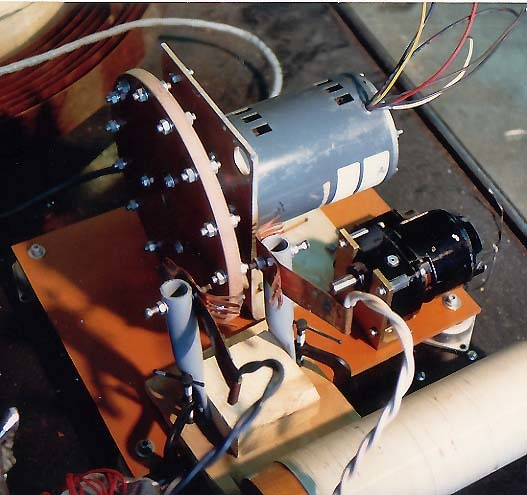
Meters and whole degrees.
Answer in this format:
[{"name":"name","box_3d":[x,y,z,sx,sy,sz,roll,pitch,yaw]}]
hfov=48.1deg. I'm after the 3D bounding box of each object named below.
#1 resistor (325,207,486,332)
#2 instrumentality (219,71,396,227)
[{"name":"resistor","box_3d":[0.486,0.030,2.029,0.445,0.228,0.369,-17,47,-19]},{"name":"instrumentality","box_3d":[0.177,-0.329,2.106,0.549,0.351,0.381,-26,64,-16]}]
